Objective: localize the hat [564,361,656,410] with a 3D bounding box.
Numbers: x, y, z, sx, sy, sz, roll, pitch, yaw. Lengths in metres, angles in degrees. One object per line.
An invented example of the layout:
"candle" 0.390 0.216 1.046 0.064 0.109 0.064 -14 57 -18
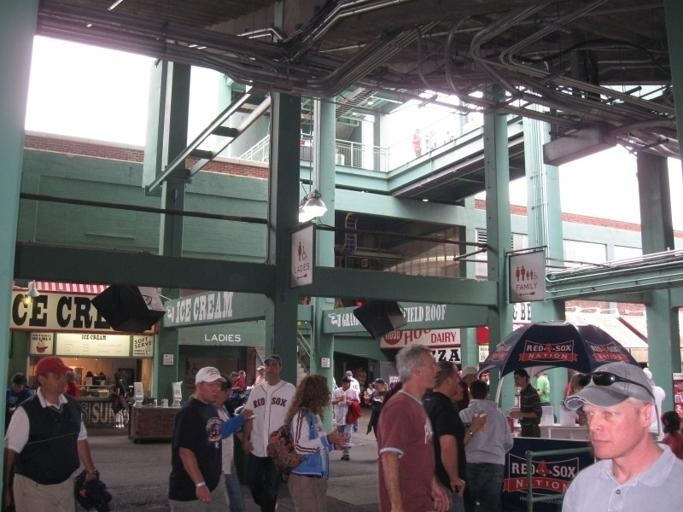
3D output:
"hat" 1.778 0.844 4.778 0.571 0.290 0.401 3 -8 -16

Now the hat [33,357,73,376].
"hat" -2.889 1.099 7.166 0.280 0.155 0.203 -3 -7 -8

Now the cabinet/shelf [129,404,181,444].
"cabinet/shelf" -4.891 4.456 19.045 1.307 0.809 0.807 8 -11 -28

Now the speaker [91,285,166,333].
"speaker" -4.134 1.016 14.295 1.073 0.930 1.183 -8 -10 43

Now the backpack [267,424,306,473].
"backpack" -0.544 2.112 8.069 0.314 0.587 0.449 0 -12 12

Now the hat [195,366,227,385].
"hat" -1.361 1.197 7.245 0.185 0.135 0.249 13 -24 -43

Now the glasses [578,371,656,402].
"glasses" 1.744 0.868 4.611 0.357 0.129 0.223 8 -36 -4

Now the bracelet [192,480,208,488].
"bracelet" -1.335 2.171 6.836 0.102 0.073 0.171 1 -7 -13

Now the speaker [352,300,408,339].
"speaker" 0.858 1.427 16.696 1.096 0.841 0.536 -4 -8 24
